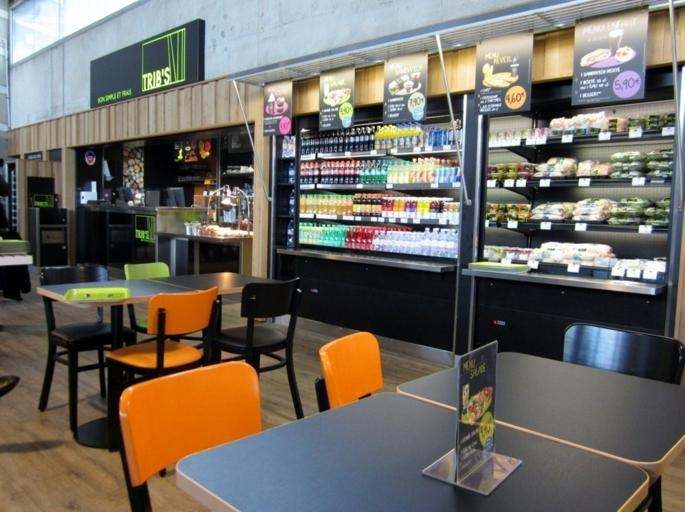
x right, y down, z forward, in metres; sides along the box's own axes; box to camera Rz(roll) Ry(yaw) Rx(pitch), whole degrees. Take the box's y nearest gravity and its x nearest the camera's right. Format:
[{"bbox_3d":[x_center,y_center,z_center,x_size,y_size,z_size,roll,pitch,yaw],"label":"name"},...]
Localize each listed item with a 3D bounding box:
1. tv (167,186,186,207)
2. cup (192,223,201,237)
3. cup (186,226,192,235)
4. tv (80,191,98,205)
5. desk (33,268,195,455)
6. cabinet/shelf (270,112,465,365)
[{"bbox_3d":[-2.998,-1.089,9.144,0.267,0.317,0.641,-3,11,-21],"label":"tv"},{"bbox_3d":[-2.301,-0.435,8.049,0.197,0.235,0.200,0,2,0],"label":"cup"},{"bbox_3d":[-2.489,-0.466,8.226,0.079,0.144,0.302,-2,10,-18],"label":"cup"},{"bbox_3d":[-5.586,-1.279,11.237,0.377,0.286,0.373,4,-5,-43],"label":"tv"},{"bbox_3d":[-1.882,0.677,3.831,0.910,1.072,0.755,14,18,42],"label":"desk"},{"bbox_3d":[0.354,-0.231,5.532,2.566,2.525,1.162,6,7,38],"label":"cabinet/shelf"}]
